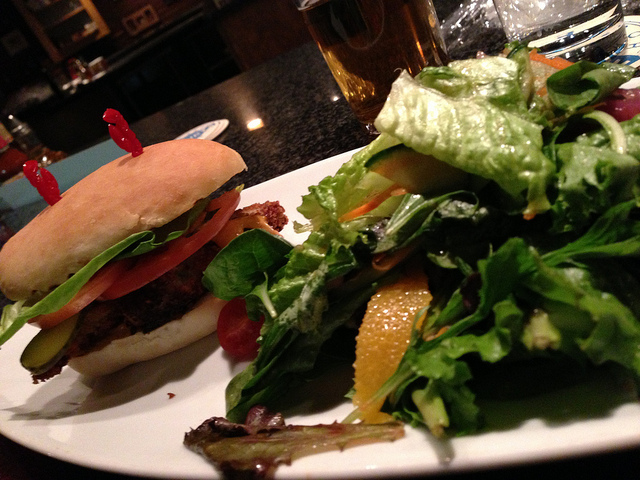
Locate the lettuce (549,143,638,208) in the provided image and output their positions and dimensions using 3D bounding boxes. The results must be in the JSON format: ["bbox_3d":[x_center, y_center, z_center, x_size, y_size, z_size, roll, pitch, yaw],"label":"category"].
[{"bbox_3d":[0.450,-0.109,0.874,0.156,0.105,0.080,1,9,-4],"label":"lettuce"}]

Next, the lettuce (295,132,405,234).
[{"bbox_3d":[0.062,-0.108,1.056,0.193,0.214,0.134,8,18,27],"label":"lettuce"}]

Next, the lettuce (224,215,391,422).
[{"bbox_3d":[0.050,0.209,1.099,0.452,0.177,0.297,-58,37,15],"label":"lettuce"}]
